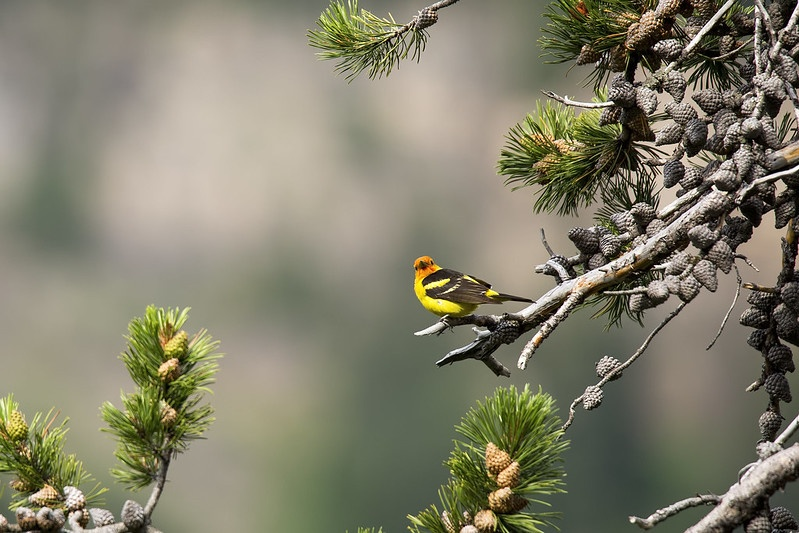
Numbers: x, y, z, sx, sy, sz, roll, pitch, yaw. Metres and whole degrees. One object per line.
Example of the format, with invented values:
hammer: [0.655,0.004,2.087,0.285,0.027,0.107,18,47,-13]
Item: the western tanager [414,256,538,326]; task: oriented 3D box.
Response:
western tanager: [0.292,0.121,5.760,0.616,0.343,0.255,-2,10,29]
